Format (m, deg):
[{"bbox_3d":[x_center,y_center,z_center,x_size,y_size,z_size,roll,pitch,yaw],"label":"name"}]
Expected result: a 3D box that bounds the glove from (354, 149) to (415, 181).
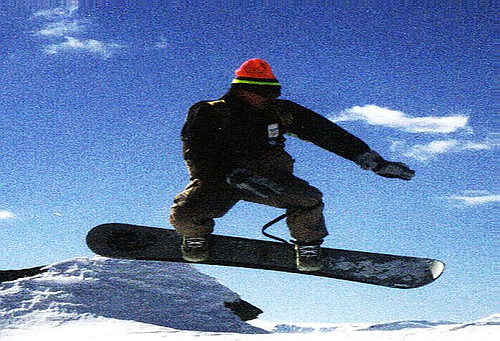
[{"bbox_3d":[2.910,-0.118,10.680,1.390,0.232,0.338,18,17,27],"label":"glove"}]
